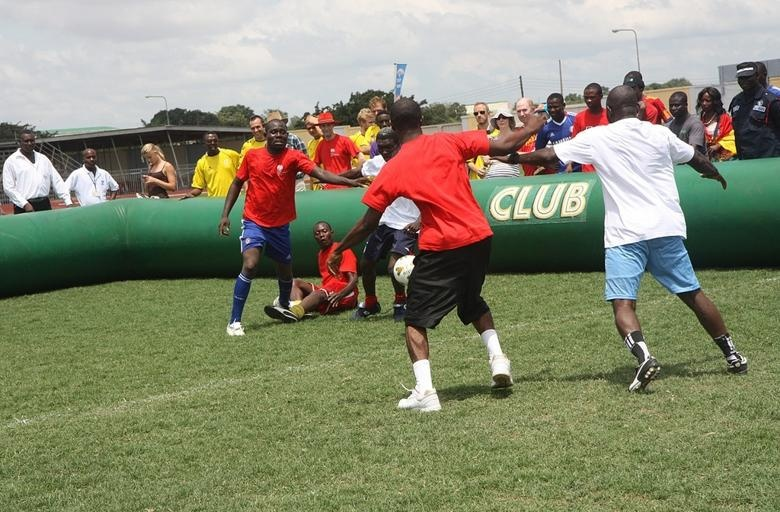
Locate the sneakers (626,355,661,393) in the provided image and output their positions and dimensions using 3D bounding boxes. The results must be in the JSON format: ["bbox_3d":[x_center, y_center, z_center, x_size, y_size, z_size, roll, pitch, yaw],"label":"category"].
[{"bbox_3d":[1.900,0.891,5.009,0.093,0.263,0.124,30,17,-28],"label":"sneakers"}]

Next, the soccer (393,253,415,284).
[{"bbox_3d":[0.142,0.130,6.717,0.204,0.197,0.223,-29,-16,-41],"label":"soccer"}]

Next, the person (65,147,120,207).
[{"bbox_3d":[-5.085,-1.353,11.381,0.758,0.892,0.925,-10,13,-18],"label":"person"}]

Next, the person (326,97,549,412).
[{"bbox_3d":[0.380,-0.027,5.068,1.402,2.298,0.691,-7,13,-5],"label":"person"}]

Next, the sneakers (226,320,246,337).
[{"bbox_3d":[-1.650,0.784,7.249,0.116,0.106,0.260,1,-5,-29],"label":"sneakers"}]

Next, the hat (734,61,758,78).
[{"bbox_3d":[4.165,-2.167,7.831,0.198,0.164,0.254,1,14,24],"label":"hat"}]

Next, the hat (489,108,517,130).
[{"bbox_3d":[1.566,-1.937,9.241,0.300,0.146,0.399,-1,-7,9],"label":"hat"}]

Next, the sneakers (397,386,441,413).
[{"bbox_3d":[0.234,1.087,5.078,0.332,0.140,0.145,0,-1,31],"label":"sneakers"}]

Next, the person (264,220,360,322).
[{"bbox_3d":[-0.788,0.272,7.958,1.404,1.158,0.941,6,-15,-36],"label":"person"}]

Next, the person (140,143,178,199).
[{"bbox_3d":[-4.105,-1.501,11.872,0.578,0.998,3.065,-9,13,-16],"label":"person"}]

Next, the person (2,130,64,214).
[{"bbox_3d":[-5.669,-1.355,10.699,0.690,1.270,0.906,8,18,44],"label":"person"}]

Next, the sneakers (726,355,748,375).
[{"bbox_3d":[2.641,0.823,5.121,0.110,0.124,0.193,-8,17,22],"label":"sneakers"}]

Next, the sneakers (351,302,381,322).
[{"bbox_3d":[-0.262,0.630,7.598,0.378,0.143,0.129,-7,10,-17],"label":"sneakers"}]
